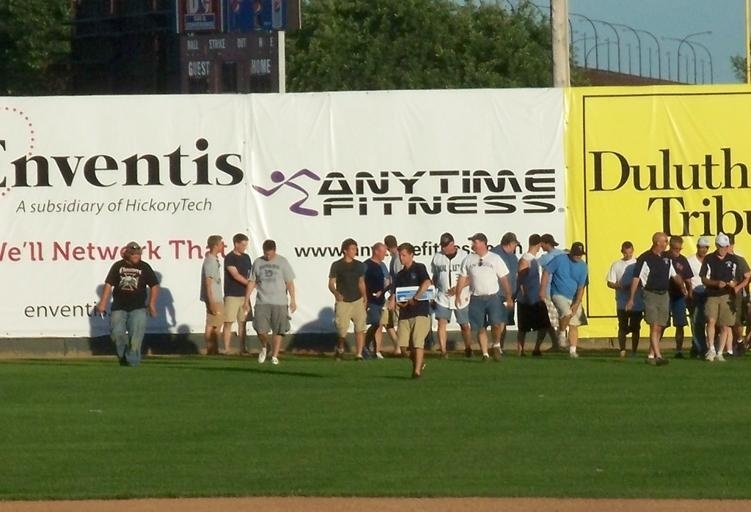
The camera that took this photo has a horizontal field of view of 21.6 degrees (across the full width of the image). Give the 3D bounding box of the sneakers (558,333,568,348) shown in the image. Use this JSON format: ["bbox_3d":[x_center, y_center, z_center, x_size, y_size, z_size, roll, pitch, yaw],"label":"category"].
[{"bbox_3d":[4.207,1.871,43.839,0.240,0.380,0.226,5,16,22],"label":"sneakers"}]

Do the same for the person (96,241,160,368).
[{"bbox_3d":[-5.349,0.998,42.388,1.196,2.564,0.630,1,-4,-8],"label":"person"}]

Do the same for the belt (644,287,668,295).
[{"bbox_3d":[5.967,0.751,41.705,0.494,0.141,0.120,0,-4,4],"label":"belt"}]

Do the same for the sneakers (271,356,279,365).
[{"bbox_3d":[-2.155,2.263,42.252,0.152,0.106,0.201,-6,-42,-10],"label":"sneakers"}]

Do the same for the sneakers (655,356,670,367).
[{"bbox_3d":[6.168,2.265,42.055,0.173,0.224,0.550,0,-6,5],"label":"sneakers"}]

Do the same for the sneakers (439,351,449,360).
[{"bbox_3d":[1.531,2.222,43.361,0.120,0.179,0.177,-1,-43,4],"label":"sneakers"}]

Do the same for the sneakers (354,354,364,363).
[{"bbox_3d":[-0.357,2.247,42.959,0.153,0.163,0.374,2,-3,8],"label":"sneakers"}]

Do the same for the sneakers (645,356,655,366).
[{"bbox_3d":[5.924,2.247,42.009,0.146,0.116,0.152,2,1,18],"label":"sneakers"}]

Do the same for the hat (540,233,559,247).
[{"bbox_3d":[3.911,-0.365,43.699,0.318,0.173,0.216,9,0,-28],"label":"hat"}]

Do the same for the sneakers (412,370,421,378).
[{"bbox_3d":[0.844,2.450,40.571,0.122,0.149,0.132,-5,20,7],"label":"sneakers"}]

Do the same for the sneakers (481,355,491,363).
[{"bbox_3d":[2.400,2.236,42.538,0.136,0.131,0.272,0,-10,3],"label":"sneakers"}]

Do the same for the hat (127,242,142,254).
[{"bbox_3d":[-5.237,-0.187,42.330,0.302,0.211,0.335,1,-4,-8],"label":"hat"}]

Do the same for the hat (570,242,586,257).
[{"bbox_3d":[4.448,-0.186,43.254,0.245,0.190,0.338,1,25,-16],"label":"hat"}]

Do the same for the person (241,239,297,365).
[{"bbox_3d":[-2.257,0.980,42.302,0.993,2.654,0.574,1,-4,-4],"label":"person"}]

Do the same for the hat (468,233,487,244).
[{"bbox_3d":[2.241,-0.388,42.072,0.290,0.160,0.214,6,1,5],"label":"hat"}]

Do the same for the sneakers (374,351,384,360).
[{"bbox_3d":[0.068,2.208,43.443,0.157,0.158,0.277,-1,-12,-4],"label":"sneakers"}]

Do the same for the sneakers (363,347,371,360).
[{"bbox_3d":[-0.181,2.162,43.486,0.183,0.343,0.257,-3,5,12],"label":"sneakers"}]
